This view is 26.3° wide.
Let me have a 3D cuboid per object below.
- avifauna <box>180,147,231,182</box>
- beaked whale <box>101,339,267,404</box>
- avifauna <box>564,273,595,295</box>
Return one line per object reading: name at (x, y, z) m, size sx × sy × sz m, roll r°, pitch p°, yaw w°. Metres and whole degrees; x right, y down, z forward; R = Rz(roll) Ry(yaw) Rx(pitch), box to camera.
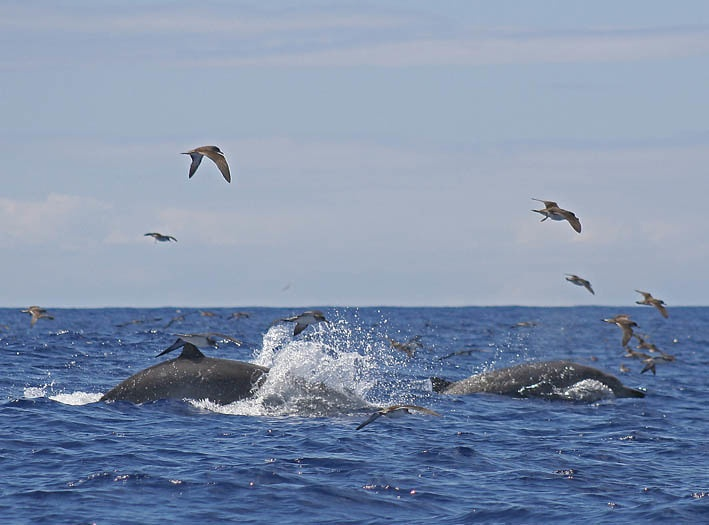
avifauna at (-3.265, -2.246, 34.009) m, size 0.866 × 0.811 × 1.643 m, roll 0°, pitch -1°, yaw -5°
beaked whale at (-3.734, 2.611, 34.500) m, size 4.392 × 1.414 × 1.312 m, roll 3°, pitch 21°, yaw -2°
avifauna at (3.923, 0.350, 26.261) m, size 0.493 × 0.325 × 0.097 m, roll 26°, pitch 14°, yaw -42°
